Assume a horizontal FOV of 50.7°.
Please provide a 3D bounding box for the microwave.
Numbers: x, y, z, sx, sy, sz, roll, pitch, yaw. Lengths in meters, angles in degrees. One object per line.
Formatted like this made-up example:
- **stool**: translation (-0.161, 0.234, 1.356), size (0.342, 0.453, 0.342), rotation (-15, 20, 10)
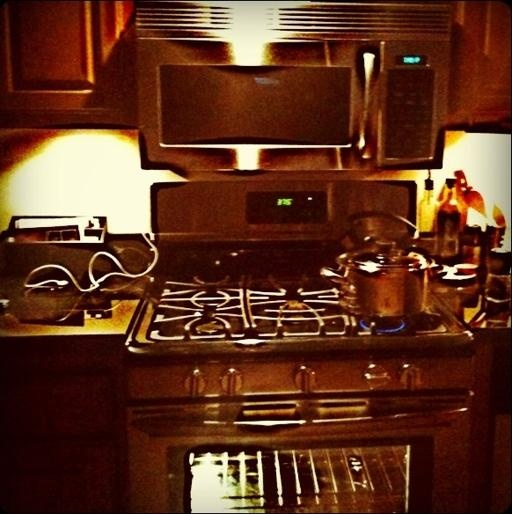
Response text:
- **microwave**: translation (0.106, -0.429, 1.364), size (0.753, 0.303, 0.412), rotation (0, 5, -2)

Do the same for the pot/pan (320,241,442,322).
- **pot/pan**: translation (0.338, 0.051, 1.423), size (0.376, 0.157, 0.221), rotation (-4, 12, -9)

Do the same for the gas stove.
- **gas stove**: translation (0.107, 0.136, 1.443), size (0.839, 0.196, 0.420), rotation (-1, -9, -3)
